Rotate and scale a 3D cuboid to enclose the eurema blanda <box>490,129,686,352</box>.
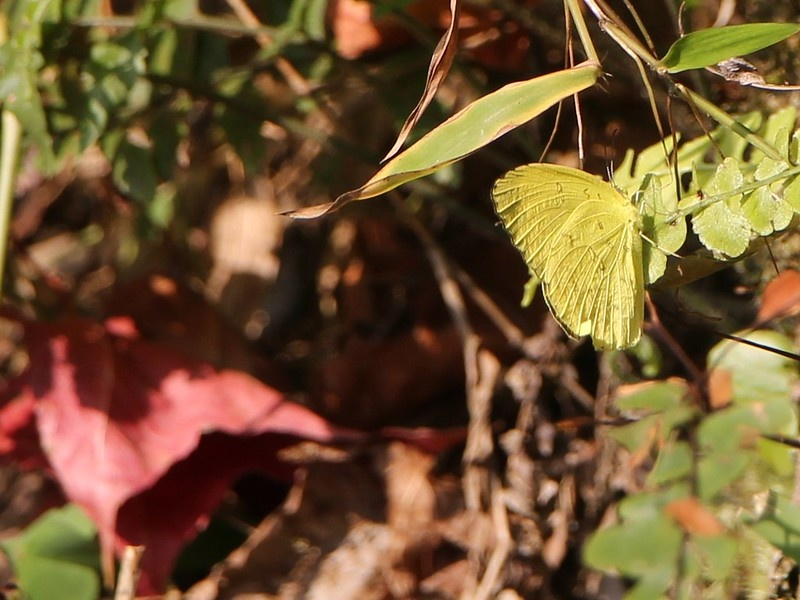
[{"bbox_3d":[0.179,-0.058,1.119,0.134,0.212,0.219,6,13,-11],"label":"eurema blanda"}]
